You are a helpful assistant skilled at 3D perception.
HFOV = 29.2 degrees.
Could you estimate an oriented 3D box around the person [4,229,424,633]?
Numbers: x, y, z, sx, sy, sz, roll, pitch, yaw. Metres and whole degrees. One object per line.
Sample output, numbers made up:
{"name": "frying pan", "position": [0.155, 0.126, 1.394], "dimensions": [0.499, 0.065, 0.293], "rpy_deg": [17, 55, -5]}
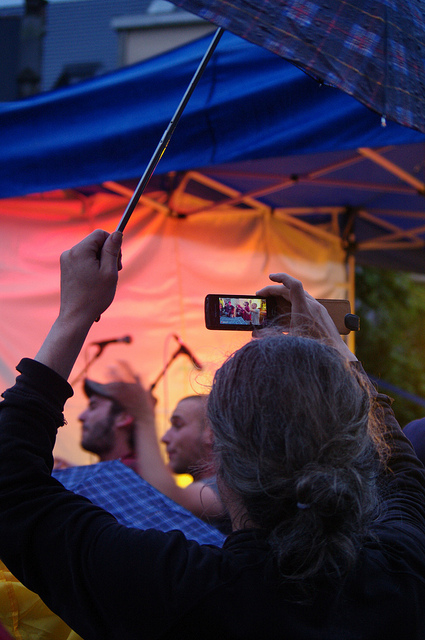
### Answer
{"name": "person", "position": [0.040, 0.190, 1.607], "dimensions": [0.870, 0.753, 0.370], "rpy_deg": [0, 0, -7]}
